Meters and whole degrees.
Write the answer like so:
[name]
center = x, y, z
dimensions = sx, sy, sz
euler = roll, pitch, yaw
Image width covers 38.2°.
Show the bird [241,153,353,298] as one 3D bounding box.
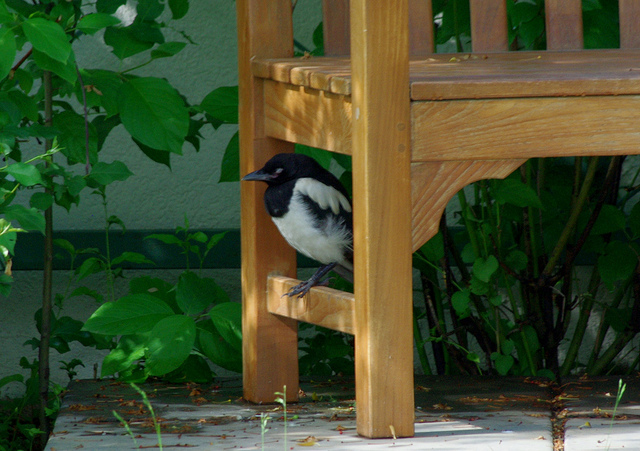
[bird]
center = 0.037, -0.010, 3.639
dimensions = 0.692, 0.504, 0.278
euler = 0, -2, -19
